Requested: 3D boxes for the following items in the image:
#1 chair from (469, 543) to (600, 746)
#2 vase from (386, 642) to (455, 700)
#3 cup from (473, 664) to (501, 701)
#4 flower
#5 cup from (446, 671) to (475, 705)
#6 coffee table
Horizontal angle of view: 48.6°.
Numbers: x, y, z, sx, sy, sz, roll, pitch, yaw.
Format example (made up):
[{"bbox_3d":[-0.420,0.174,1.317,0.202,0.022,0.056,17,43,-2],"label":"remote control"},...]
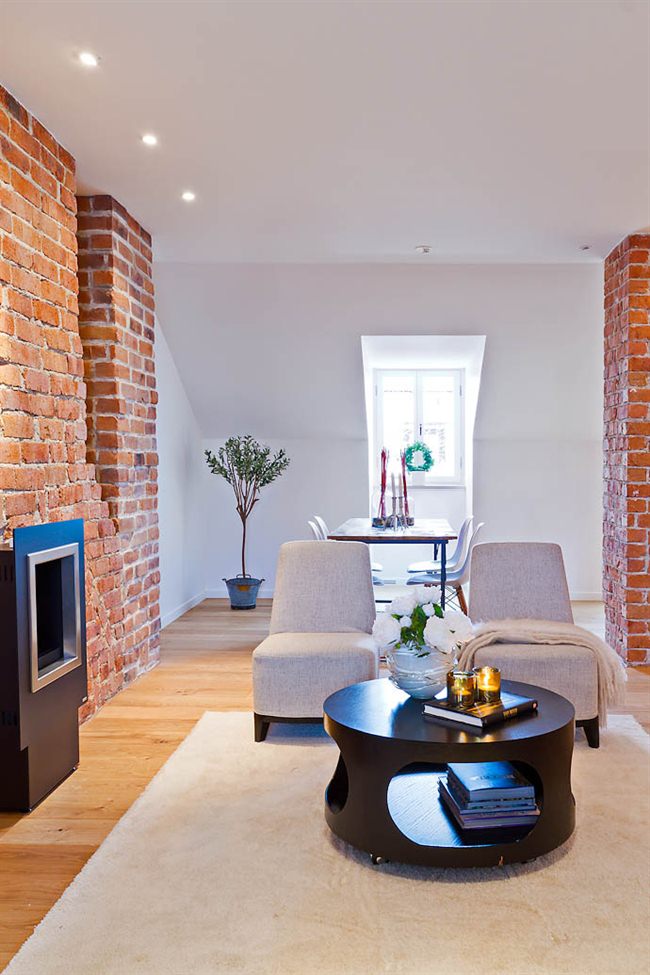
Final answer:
[{"bbox_3d":[0.890,0.543,2.990,0.496,0.859,0.705,-1,-11,7],"label":"chair"},{"bbox_3d":[0.269,0.513,2.049,0.147,0.120,0.163,0,-7,0],"label":"vase"},{"bbox_3d":[0.439,0.522,1.936,0.069,0.079,0.073,1,3,0],"label":"cup"},{"bbox_3d":[0.272,0.386,2.045,0.206,0.156,0.210,0,-6,16],"label":"flower"},{"bbox_3d":[0.350,0.515,1.863,0.075,0.075,0.068,-1,3,0],"label":"cup"},{"bbox_3d":[0.356,0.732,2.021,0.681,0.349,0.687,-3,3,4],"label":"coffee table"}]
